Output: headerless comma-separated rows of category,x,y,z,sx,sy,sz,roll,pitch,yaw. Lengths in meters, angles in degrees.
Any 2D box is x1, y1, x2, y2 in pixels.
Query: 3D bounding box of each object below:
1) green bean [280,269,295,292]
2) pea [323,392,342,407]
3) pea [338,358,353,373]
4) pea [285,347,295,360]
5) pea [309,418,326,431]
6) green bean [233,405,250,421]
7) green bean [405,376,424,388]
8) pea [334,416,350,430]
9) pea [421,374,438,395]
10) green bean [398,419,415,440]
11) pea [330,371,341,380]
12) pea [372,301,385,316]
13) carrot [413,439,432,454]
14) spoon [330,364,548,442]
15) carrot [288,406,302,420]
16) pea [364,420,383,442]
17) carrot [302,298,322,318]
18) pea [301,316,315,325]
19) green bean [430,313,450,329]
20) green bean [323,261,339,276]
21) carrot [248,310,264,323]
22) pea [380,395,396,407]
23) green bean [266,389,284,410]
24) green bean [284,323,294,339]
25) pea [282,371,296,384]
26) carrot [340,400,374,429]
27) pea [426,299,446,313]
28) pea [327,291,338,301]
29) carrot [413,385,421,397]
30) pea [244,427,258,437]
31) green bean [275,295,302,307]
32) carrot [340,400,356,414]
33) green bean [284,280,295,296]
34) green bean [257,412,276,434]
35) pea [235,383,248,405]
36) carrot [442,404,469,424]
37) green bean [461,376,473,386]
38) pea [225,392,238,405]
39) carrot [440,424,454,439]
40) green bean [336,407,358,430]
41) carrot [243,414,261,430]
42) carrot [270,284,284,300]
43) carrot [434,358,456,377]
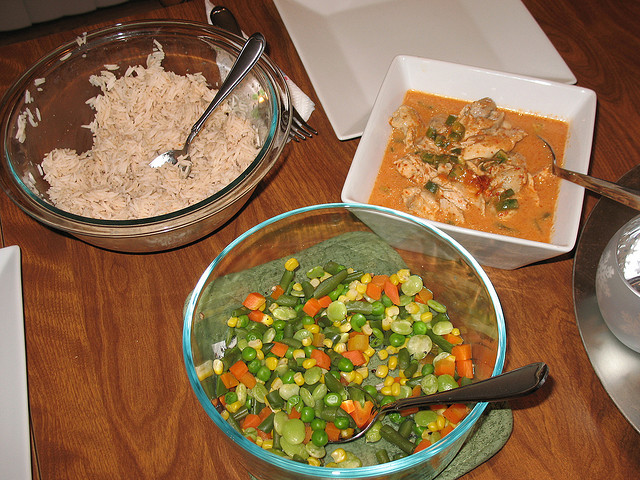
green bean,-0.130,0.155,2.057,0.041,0.029,0.086,13,94,-1
pea,0.045,0.567,1.875,0.045,0.026,0.041,0,62,8
pea,0.092,0.457,1.924,0.037,0.052,0.044,-11,79,15
pea,-0.113,0.425,1.983,0.030,0.033,0.042,2,94,5
pea,-0.005,0.647,1.851,0.040,0.032,0.037,-2,90,-4
green bean,-0.282,0.608,1.905,0.062,0.040,0.043,-31,103,-24
green bean,0.336,0.506,1.890,0.060,0.023,0.033,-25,73,-2
pea,0.074,0.631,1.826,0.042,0.034,0.037,6,78,-2
pea,0.383,0.509,1.861,0.060,0.043,0.063,-21,72,-8
green bean,0.298,0.653,1.842,0.033,0.025,0.079,26,89,0
pea,0.057,0.492,1.933,0.026,0.027,0.016,26,98,-20
pea,0.218,0.257,1.997,0.044,0.047,0.046,-30,46,5
carrot,0.340,0.693,1.787,0.060,0.020,0.031,-43,48,-14
spoon,0.390,0.590,1.812,0.763,0.083,0.230,-26,32,33
carrot,-0.087,0.619,1.869,0.046,0.024,0.044,35,74,11
pea,0.191,0.671,1.843,0.076,0.028,0.054,-37,75,-13
carrot,-0.028,0.251,2.050,0.059,0.052,0.061,-43,76,32
pea,-0.047,0.309,2.029,0.037,0.030,0.032,6,48,8
green bean,0.444,0.295,1.983,0.066,0.026,0.040,-25,56,-15
green bean,0.040,0.105,2.055,0.042,0.043,0.049,16,98,14
carrot,-0.245,0.293,2.026,0.048,0.039,0.040,3,55,30
pea,0.239,0.568,1.882,0.059,0.045,0.028,-15,70,-6
green bean,-0.161,0.570,1.883,0.052,0.057,0.063,-26,75,-9
green bean,-0.120,0.350,2.027,0.037,0.038,0.067,13,64,-28
pea,-0.112,0.502,1.945,0.034,0.035,0.049,32,85,5
carrot,0.127,0.611,1.847,0.098,0.032,0.086,-1,84,5
pea,0.438,0.251,1.990,0.066,0.020,0.035,37,75,12
pea,0.045,0.215,2.044,0.030,0.024,0.034,-14,102,30
carrot,0.342,0.534,1.877,0.025,0.021,0.037,2,70,0
pea,-0.238,0.662,1.832,0.045,0.021,0.026,10,70,3
green bean,-0.123,0.239,2.037,0.072,0.026,0.048,5,88,0
carrot,0.099,0.585,1.857,0.026,0.037,0.041,8,98,34
green bean,-0.119,0.188,2.073,0.025,0.017,0.055,25,95,-23
green bean,-0.184,0.643,1.849,0.036,0.029,0.073,19,62,15
pea,-0.281,0.551,1.889,0.035,0.036,0.068,-4,85,8
carrot,0.459,0.592,1.803,0.063,0.071,0.058,47,34,-13
green bean,0.511,0.494,1.845,0.026,0.027,0.026,-35,36,16
pea,-0.315,0.564,1.879,0.044,0.013,0.042,-4,71,-2
carrot,0.430,0.649,1.800,0.044,0.025,0.034,-43,62,-3
green bean,0.093,0.622,1.849,0.042,0.032,0.089,-19,68,-20
carrot,-0.238,0.633,1.872,0.040,0.047,0.049,6,44,45
carrot,-0.167,0.205,2.063,0.029,0.029,0.056,27,87,11
carrot,0.441,0.455,1.884,0.049,0.056,0.045,1,101,-2
